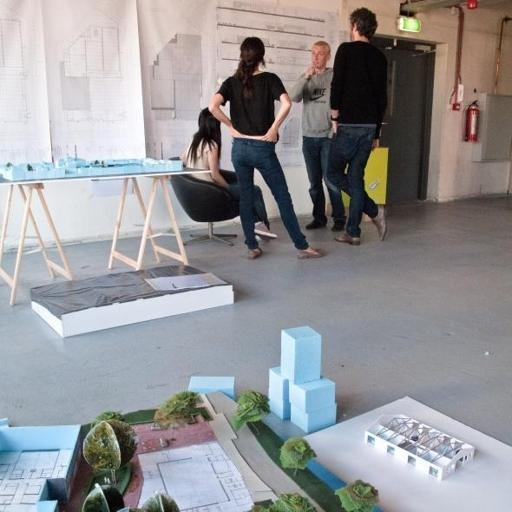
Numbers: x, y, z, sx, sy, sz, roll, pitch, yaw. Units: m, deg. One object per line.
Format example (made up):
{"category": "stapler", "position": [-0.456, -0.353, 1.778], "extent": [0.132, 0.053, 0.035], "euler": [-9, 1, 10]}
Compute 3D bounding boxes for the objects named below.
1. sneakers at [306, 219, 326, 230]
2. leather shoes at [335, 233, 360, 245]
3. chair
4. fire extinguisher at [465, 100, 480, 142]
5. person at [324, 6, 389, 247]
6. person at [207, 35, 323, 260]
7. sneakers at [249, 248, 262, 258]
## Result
{"category": "sneakers", "position": [0.712, -0.379, 5.141], "extent": [0.291, 0.111, 0.099], "euler": [0, 5, -31]}
{"category": "leather shoes", "position": [0.934, -0.160, 4.409], "extent": [0.101, 0.111, 0.275], "euler": [-13, 20, -34]}
{"category": "chair", "position": [-0.544, -0.535, 4.422], "extent": [0.693, 0.725, 0.729], "euler": [-2, 14, -7]}
{"category": "fire extinguisher", "position": [3.764, -2.333, 7.478], "extent": [0.322, 0.717, 0.176], "euler": [-11, 17, -36]}
{"category": "person", "position": [0.988, -1.174, 4.190], "extent": [0.640, 2.130, 0.435], "euler": [-3, 14, -11]}
{"category": "person", "position": [0.030, -0.803, 3.546], "extent": [0.806, 1.750, 0.383], "euler": [3, 14, 13]}
{"category": "sneakers", "position": [0.000, -0.034, 3.887], "extent": [0.054, 0.062, 0.147], "euler": [5, 28, 21]}
